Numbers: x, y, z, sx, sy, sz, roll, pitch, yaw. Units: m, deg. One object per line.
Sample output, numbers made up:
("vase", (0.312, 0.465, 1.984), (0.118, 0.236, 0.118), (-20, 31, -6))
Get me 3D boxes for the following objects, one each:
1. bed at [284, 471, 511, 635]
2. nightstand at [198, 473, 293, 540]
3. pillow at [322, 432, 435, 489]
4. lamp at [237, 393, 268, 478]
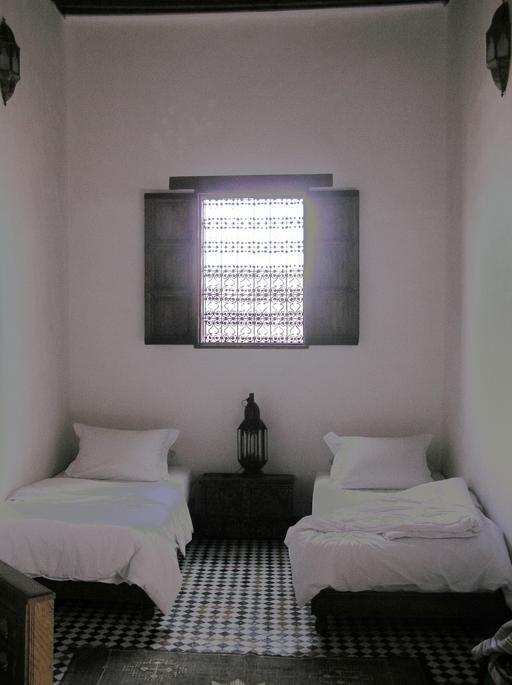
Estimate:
("bed", (0.710, 1.104, 3.305), (1.098, 0.566, 0.741), (1, -2, 1))
("nightstand", (-0.067, 1.130, 4.643), (0.665, 0.447, 0.391), (0, 12, 1))
("pillow", (0.812, 0.861, 4.412), (0.566, 0.185, 0.591), (-1, 13, 1))
("lamp", (-0.027, 0.670, 4.752), (0.233, 0.592, 0.256), (1, -2, 0))
